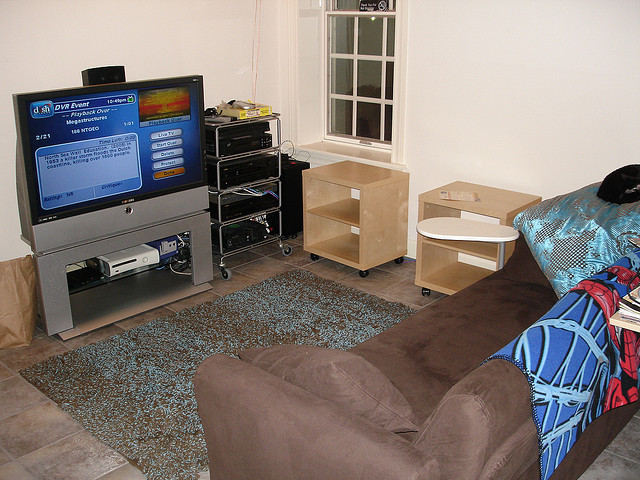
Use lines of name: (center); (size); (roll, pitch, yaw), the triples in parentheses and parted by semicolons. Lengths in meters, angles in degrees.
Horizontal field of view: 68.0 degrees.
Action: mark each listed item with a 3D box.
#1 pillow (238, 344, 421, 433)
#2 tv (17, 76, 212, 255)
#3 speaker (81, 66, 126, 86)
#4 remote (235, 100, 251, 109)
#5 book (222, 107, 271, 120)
pillow: (0.062, 0.467, 1.639); (0.430, 0.126, 0.379); (27, 19, 29)
tv: (-1.480, -0.542, 3.324); (0.130, 0.909, 1.293); (17, 24, 40)
speaker: (-1.457, -1.110, 3.207); (0.266, 0.106, 0.113); (-10, 26, -23)
remote: (-0.666, -1.171, 4.104); (0.124, 0.032, 0.073); (25, 36, 36)
book: (-0.616, -1.083, 4.066); (0.407, 0.083, 0.142); (-6, 25, -15)
